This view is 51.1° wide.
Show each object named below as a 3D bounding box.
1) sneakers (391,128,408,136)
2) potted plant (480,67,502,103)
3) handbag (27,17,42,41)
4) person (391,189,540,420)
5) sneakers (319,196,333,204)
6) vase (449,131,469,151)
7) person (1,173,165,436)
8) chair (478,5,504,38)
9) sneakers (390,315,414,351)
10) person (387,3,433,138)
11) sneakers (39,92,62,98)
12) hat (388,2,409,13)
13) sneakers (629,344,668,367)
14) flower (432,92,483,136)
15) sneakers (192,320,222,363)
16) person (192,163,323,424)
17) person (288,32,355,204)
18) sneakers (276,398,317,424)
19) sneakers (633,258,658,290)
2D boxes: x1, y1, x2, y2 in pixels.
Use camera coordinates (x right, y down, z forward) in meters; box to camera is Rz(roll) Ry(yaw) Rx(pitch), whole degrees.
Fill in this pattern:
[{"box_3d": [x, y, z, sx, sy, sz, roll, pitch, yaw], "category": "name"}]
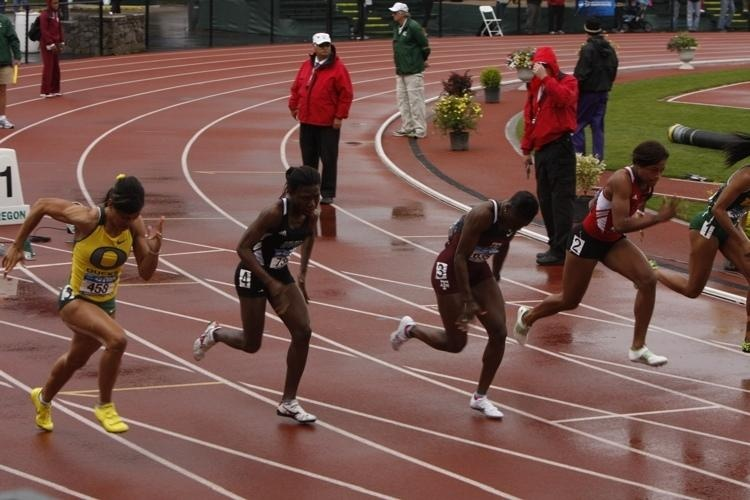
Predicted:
[{"box_3d": [0.581, -2.766, 18.163, 0.466, 0.173, 0.165, 9, 23, 18], "category": "sneakers"}, {"box_3d": [3.314, -4.736, 22.466, 0.558, 0.949, 0.658, 3, 20, 7], "category": "potted plant"}, {"box_3d": [-9.050, -5.932, 20.875, 0.301, 0.664, 1.317, -8, 20, -22], "category": "handbag"}, {"box_3d": [0.877, 0.408, 6.901, 0.709, 1.987, 1.016, -10, 22, -26], "category": "person"}, {"box_3d": [-0.836, -0.838, 12.963, 0.199, 0.113, 0.349, 0, -1, 22], "category": "sneakers"}, {"box_3d": [1.781, -2.352, 16.764, 0.452, 0.324, 0.418, 0, 12, 4], "category": "vase"}, {"box_3d": [-2.224, 0.455, 6.243, 1.105, 2.092, 0.926, -10, 23, -28], "category": "person"}, {"box_3d": [5.549, -10.974, 37.348, 1.101, 1.319, 1.250, 3, 19, 6], "category": "chair"}, {"box_3d": [0.250, 0.786, 7.484, 0.189, 0.403, 0.143, 1, 57, -11], "category": "sneakers"}, {"box_3d": [0.773, -4.016, 17.573, 0.834, 2.935, 1.057, 1, 20, 3], "category": "person"}, {"box_3d": [-8.751, -4.225, 21.245, 0.547, 0.186, 0.168, -4, 25, -2], "category": "sneakers"}, {"box_3d": [0.524, -5.327, 17.161, 0.320, 0.188, 0.294, 4, 19, 9], "category": "hat"}, {"box_3d": [2.539, 0.993, 7.411, 0.404, 0.168, 0.155, 3, 10, 27], "category": "sneakers"}, {"box_3d": [1.750, -2.985, 17.053, 1.217, 0.896, 1.124, 2, -12, 3], "category": "flower"}, {"box_3d": [-1.607, 0.887, 7.508, 0.201, 0.165, 0.438, -11, 38, 57], "category": "sneakers"}, {"box_3d": [-0.930, 0.347, 6.641, 0.964, 2.161, 0.968, -5, 21, -15], "category": "person"}, {"box_3d": [-0.891, -2.154, 12.869, 1.005, 2.716, 0.658, 16, 26, 37], "category": "person"}, {"box_3d": [-0.678, 1.353, 6.716, 0.422, 0.168, 0.149, 8, 15, 23], "category": "sneakers"}, {"box_3d": [2.549, 0.222, 7.428, 0.187, 0.276, 0.123, -7, -13, 5], "category": "sneakers"}]
